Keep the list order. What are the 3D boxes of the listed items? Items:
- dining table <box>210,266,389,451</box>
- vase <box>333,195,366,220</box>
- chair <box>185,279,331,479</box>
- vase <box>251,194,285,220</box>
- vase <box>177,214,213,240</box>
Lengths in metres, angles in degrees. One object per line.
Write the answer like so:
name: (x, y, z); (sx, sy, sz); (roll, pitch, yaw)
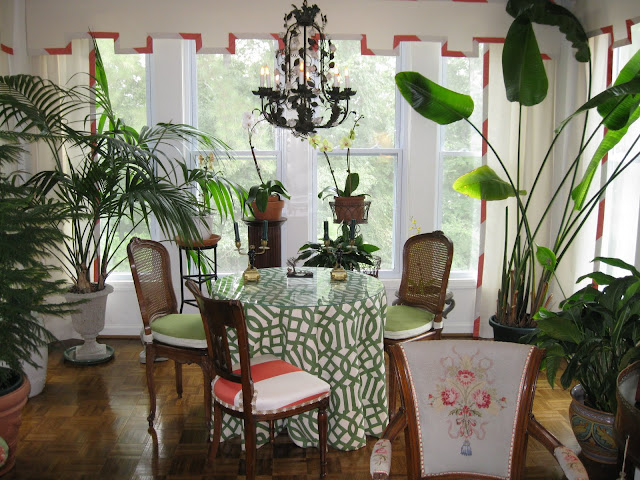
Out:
dining table: (-0.008, 0.679, 3.815); (0.923, 0.797, 1.028); (0, 4, 0)
vase: (0.235, -0.260, 4.478); (0.197, 0.170, 0.211); (-1, 5, -4)
chair: (-0.350, 0.817, 3.198); (0.816, 1.125, 0.528); (-1, 10, -7)
vase: (-0.436, -0.269, 4.604); (0.244, 0.209, 0.173); (-5, 12, -31)
vase: (-0.916, -0.112, 4.449); (0.233, 0.201, 0.258); (-2, -3, 31)
